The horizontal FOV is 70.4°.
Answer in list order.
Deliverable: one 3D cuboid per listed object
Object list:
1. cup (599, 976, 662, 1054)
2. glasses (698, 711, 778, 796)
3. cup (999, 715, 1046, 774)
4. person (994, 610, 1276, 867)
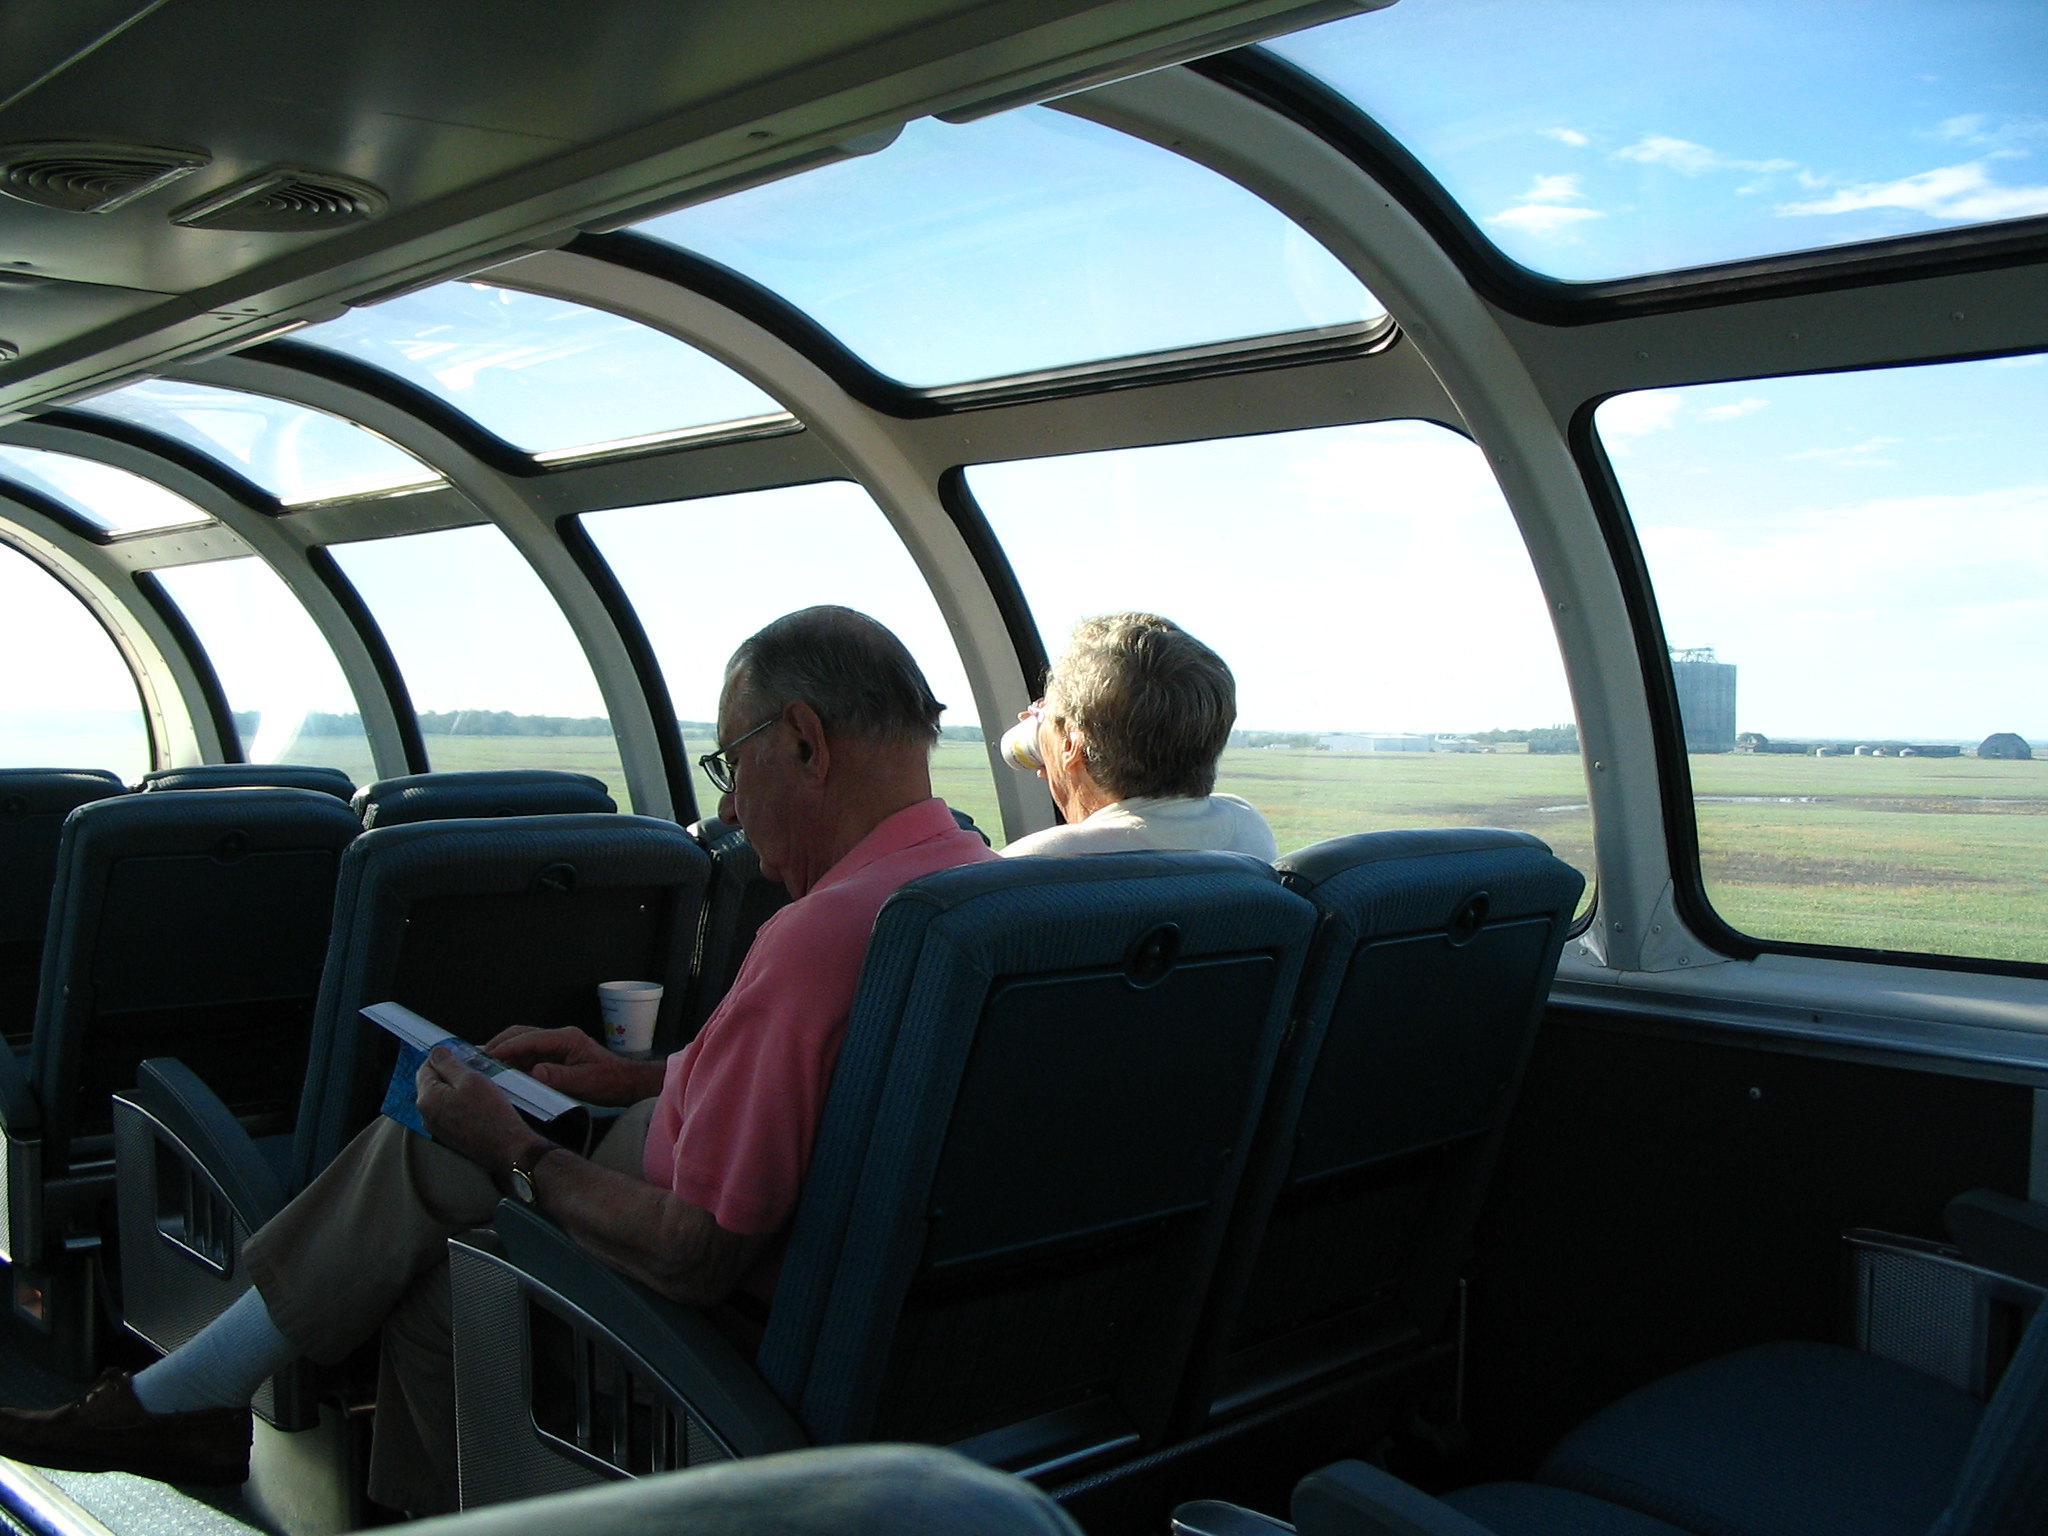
[{"bbox_3d":[-1.001,0.628,3.773,0.174,0.162,0.168,3,3,0],"label":"cup"},{"bbox_3d":[-0.561,-0.032,2.822,0.142,0.041,0.141,-39,-2,-6],"label":"glasses"},{"bbox_3d":[0.004,-0.077,4.085,0.117,0.155,0.084,6,-25,-2],"label":"cup"},{"bbox_3d":[0.257,-0.035,3.679,0.804,0.699,0.593,-3,5,-39],"label":"person"}]
